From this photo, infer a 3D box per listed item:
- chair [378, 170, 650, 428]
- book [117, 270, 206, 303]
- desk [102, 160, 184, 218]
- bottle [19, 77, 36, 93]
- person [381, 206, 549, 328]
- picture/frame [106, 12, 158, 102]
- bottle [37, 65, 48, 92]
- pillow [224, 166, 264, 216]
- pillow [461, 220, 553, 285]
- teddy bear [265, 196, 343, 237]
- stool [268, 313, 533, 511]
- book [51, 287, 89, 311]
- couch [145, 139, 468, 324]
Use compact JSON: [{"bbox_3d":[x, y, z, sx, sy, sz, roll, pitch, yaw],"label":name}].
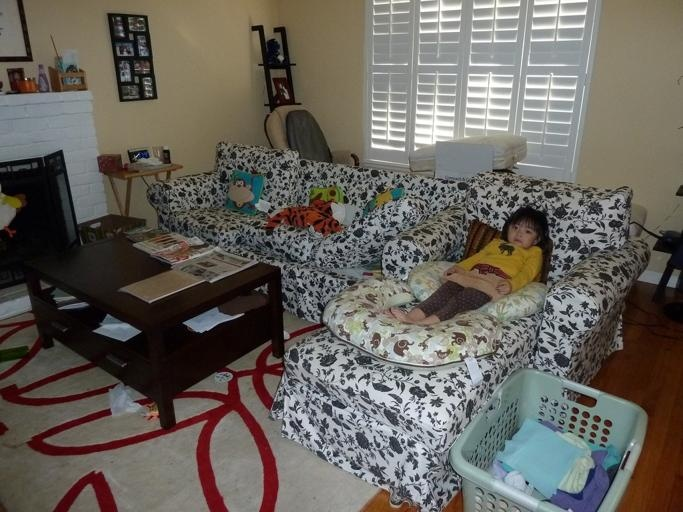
[{"bbox_3d":[1.122,0.110,2.823,1.059,1.037,0.870,19,32,40],"label":"chair"},{"bbox_3d":[-0.991,0.164,2.597,0.270,0.029,0.373,20,29,38],"label":"book"},{"bbox_3d":[-1.820,-0.610,4.250,0.263,0.353,0.492,28,42,29],"label":"desk"},{"bbox_3d":[-2.461,-1.344,3.707,0.111,0.109,0.109,-9,24,-28],"label":"bottle"},{"bbox_3d":[0.749,0.072,2.575,1.073,0.441,0.449,-17,19,-25],"label":"person"},{"bbox_3d":[-1.944,-1.851,4.386,0.079,0.744,0.404,20,29,40],"label":"picture/frame"},{"bbox_3d":[-2.440,-1.453,3.828,0.093,0.205,0.160,-13,26,-28],"label":"bottle"},{"bbox_3d":[-0.794,-0.525,3.865,0.352,0.338,0.109,6,-1,26],"label":"pillow"},{"bbox_3d":[0.897,-0.075,2.865,0.372,0.400,0.119,20,-10,32],"label":"pillow"},{"bbox_3d":[-0.240,-0.293,3.365,0.556,0.171,0.395,7,24,17],"label":"teddy bear"},{"bbox_3d":[0.171,0.718,2.249,0.868,0.397,0.905,19,43,28],"label":"stool"},{"bbox_3d":[-1.664,0.275,2.865,0.196,0.062,0.149,1,16,-2],"label":"book"},{"bbox_3d":[-0.255,-0.152,3.136,1.410,0.589,0.519,18,37,30],"label":"couch"}]
